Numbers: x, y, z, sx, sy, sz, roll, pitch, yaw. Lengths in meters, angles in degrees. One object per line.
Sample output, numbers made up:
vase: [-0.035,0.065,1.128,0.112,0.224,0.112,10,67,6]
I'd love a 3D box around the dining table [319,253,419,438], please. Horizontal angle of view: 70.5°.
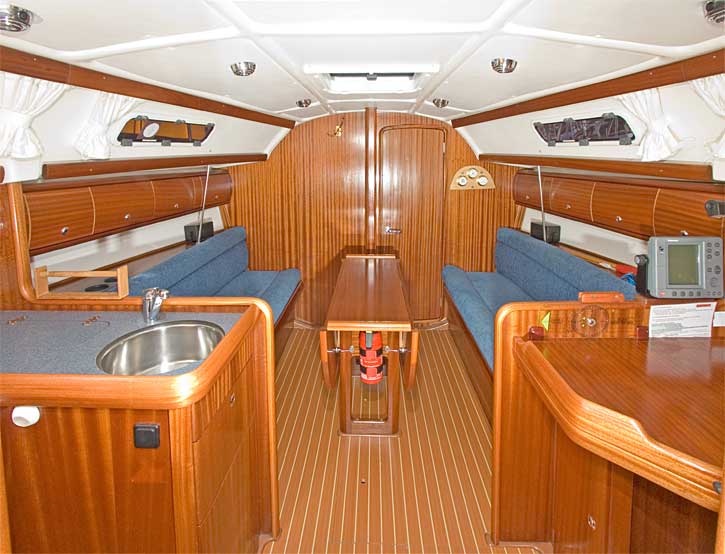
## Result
dining table: [0.066,0.611,4.334,0.500,0.670,1.396,-1,20,0]

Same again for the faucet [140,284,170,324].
faucet: [-1.104,0.149,2.732,0.181,0.247,0.131,-2,11,-18]

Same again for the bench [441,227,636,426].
bench: [1.456,0.364,4.659,1.002,1.199,3.084,-2,15,-4]

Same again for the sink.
sink: [-1.019,0.384,2.593,0.582,0.273,0.323,-2,6,-29]

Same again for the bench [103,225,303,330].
bench: [-1.296,-0.029,4.182,0.473,0.390,1.128,13,19,2]
